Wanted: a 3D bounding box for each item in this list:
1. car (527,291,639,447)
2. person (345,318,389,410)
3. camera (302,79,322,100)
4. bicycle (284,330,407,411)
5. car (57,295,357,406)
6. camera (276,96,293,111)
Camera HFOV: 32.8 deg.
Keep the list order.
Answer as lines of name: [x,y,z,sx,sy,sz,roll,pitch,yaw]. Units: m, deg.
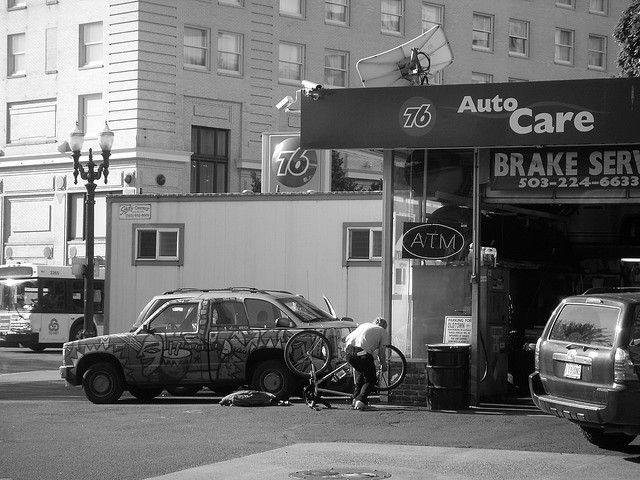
car: [4.075,1.867,16.331,2.428,1.295,1.360,-4,2,-44]
person: [0.901,2.384,21.115,0.815,1.761,0.587,0,-3,0]
camera: [-0.182,-3.009,21.784,0.396,0.415,0.550,0,-2,-1]
bicycle: [0.508,2.312,21.556,2.513,1.552,1.258,7,9,9]
car: [-2.418,2.263,23.046,5.655,1.988,2.555,0,-5,7]
camera: [-0.910,-3.333,26.267,0.482,0.126,0.442,-39,-4,-13]
